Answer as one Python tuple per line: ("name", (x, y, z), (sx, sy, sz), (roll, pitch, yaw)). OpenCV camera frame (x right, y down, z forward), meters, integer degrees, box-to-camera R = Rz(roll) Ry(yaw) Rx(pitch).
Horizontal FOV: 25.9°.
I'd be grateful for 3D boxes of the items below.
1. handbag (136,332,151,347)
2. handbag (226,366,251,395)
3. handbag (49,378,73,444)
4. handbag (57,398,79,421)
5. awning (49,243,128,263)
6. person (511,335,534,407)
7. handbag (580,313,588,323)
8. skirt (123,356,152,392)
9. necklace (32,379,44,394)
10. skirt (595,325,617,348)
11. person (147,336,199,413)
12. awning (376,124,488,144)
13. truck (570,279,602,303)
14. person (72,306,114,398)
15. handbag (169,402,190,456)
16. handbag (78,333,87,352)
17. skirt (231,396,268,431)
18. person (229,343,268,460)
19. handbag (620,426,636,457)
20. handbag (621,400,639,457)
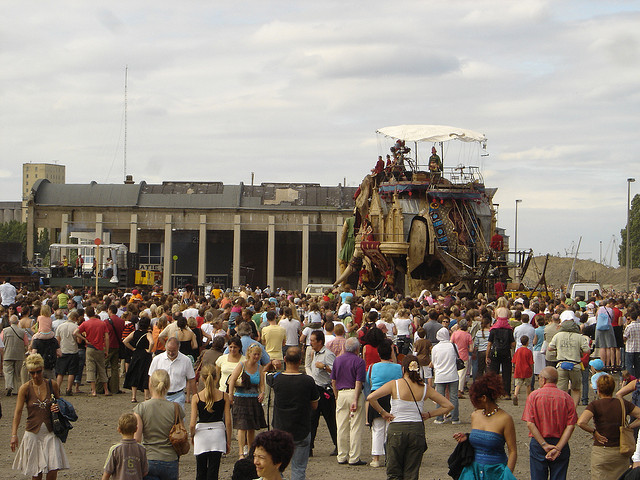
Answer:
("handbag", (-4.201, 2.376, 33.429), (0.359, 0.318, 0.181), (0, -3, 9))
("handbag", (-1.677, 2.981, 29.143), (0.506, 0.492, 0.421), (-2, 0, 2))
("handbag", (-5.261, 3.518, 28.528), (0.468, 1.138, 0.437), (0, -1, -19))
("handbag", (-5.112, 3.463, 28.456), (0.167, 0.440, 0.392), (-40, -3, 29))
("awning", (-10.688, 0.388, 63.941), (3.690, 1.332, 2.463), (0, 3, -18))
("person", (5.127, 3.199, 34.994), (0.684, 1.918, 0.569), (-1, -2, 15))
("handbag", (7.208, 2.110, 37.905), (0.166, 0.171, 0.219), (10, 38, 16))
("skirt", (-4.327, 3.222, 33.837), (0.500, 0.818, 0.993), (1, -3, -22))
("necklace", (-5.692, 2.986, 28.355), (0.158, 0.280, 0.031), (2, -14, -11))
("skirt", (7.732, 2.643, 37.633), (0.709, 0.800, 0.531), (0, 2, 23))
("person", (-3.077, 3.336, 29.571), (1.086, 2.442, 0.687), (0, 8, -3))
("awning", (4.293, -4.032, 52.740), (3.665, 0.748, 1.457), (0, -3, 12))
("truck", (9.447, 1.773, 49.308), (1.076, 1.027, 1.818), (-1, 5, 8))
("person", (-5.782, 2.825, 35.551), (0.932, 2.278, 0.816), (-1, 2, -19))
("handbag", (-2.725, 3.736, 27.455), (0.391, 1.030, 0.238), (0, -3, -5))
("handbag", (-5.978, 2.606, 35.347), (0.263, 0.319, 0.345), (1, -7, -1))
("skirt", (-1.448, 3.647, 29.385), (0.866, 0.889, 0.634), (-1, -8, -18))
("person", (-1.401, 3.410, 29.196), (0.878, 2.401, 0.740), (2, -1, -33))
("handbag", (6.192, 4.073, 28.021), (0.166, 0.645, 0.491), (-4, -14, 34))
("handbag", (6.253, 3.802, 28.141), (0.296, 1.137, 0.394), (0, -3, 12))
